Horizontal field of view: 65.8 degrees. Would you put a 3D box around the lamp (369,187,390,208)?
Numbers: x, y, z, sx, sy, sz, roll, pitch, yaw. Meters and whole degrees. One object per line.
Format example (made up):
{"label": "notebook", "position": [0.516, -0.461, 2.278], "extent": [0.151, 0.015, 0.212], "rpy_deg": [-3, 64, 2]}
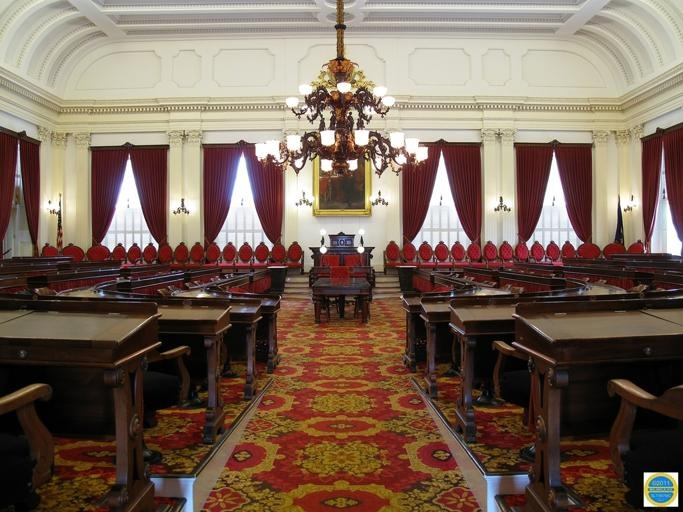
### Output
{"label": "lamp", "position": [0.994, -1.508, 13.733], "extent": [0.436, 0.388, 0.467], "rpy_deg": [3, 8, 18]}

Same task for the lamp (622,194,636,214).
{"label": "lamp", "position": [7.712, -1.380, 14.081], "extent": [0.108, 0.396, 0.271], "rpy_deg": [19, -6, -4]}

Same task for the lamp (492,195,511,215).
{"label": "lamp", "position": [4.348, -1.368, 14.300], "extent": [0.385, 0.482, 0.414], "rpy_deg": [-1, 11, -1]}

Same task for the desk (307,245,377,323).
{"label": "desk", "position": [0.027, 0.588, 10.779], "extent": [1.188, 1.164, 2.799], "rpy_deg": [0, 1, 2]}

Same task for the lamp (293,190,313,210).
{"label": "lamp", "position": [-1.001, -1.515, 13.971], "extent": [0.452, 0.482, 0.150], "rpy_deg": [0, 2, -7]}

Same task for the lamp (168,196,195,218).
{"label": "lamp", "position": [-4.298, -1.305, 14.260], "extent": [0.436, 0.383, 0.458], "rpy_deg": [1, 0, 42]}
